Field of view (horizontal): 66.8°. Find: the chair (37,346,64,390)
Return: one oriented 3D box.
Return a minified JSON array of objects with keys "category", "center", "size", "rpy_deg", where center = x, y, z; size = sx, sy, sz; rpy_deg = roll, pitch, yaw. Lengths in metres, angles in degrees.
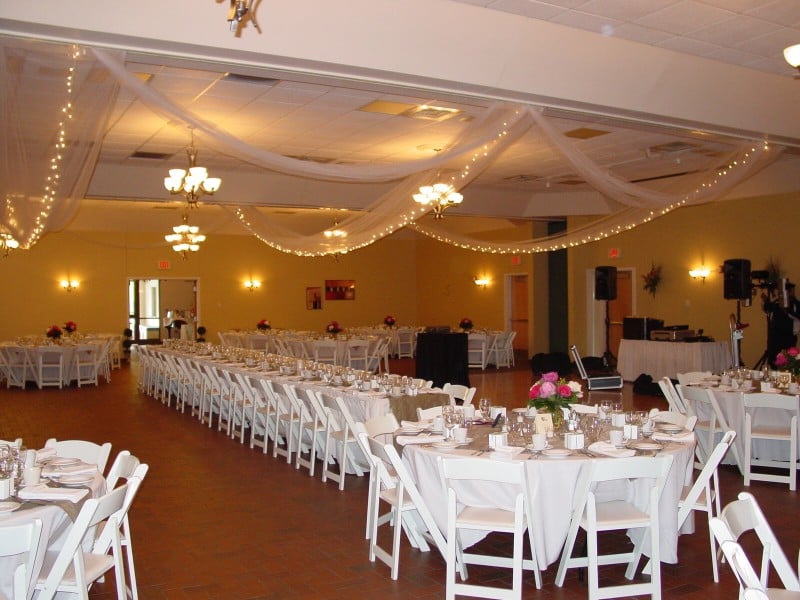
[{"category":"chair","center":[-7.391,1.412,12.803],"size":[0.491,0.844,0.581],"rpy_deg":[0,-3,-22]}]

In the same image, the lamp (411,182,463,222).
[{"category":"lamp","center":[0.430,-1.243,7.391],"size":[0.553,0.306,0.546],"rpy_deg":[-1,2,16]}]

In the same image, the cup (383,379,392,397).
[{"category":"cup","center":[-0.143,0.957,6.686],"size":[0.123,0.132,0.120],"rpy_deg":[-1,-4,0]}]

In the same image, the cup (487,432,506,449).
[{"category":"cup","center":[0.668,0.966,4.181],"size":[0.108,0.104,0.108],"rpy_deg":[1,0,0]}]

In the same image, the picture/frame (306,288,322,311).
[{"category":"picture/frame","center":[-2.971,-0.039,20.539],"size":[0.793,1.039,0.104],"rpy_deg":[1,2,-13]}]

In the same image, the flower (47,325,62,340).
[{"category":"flower","center":[-8.194,0.778,14.312],"size":[0.281,0.272,0.308],"rpy_deg":[-8,6,0]}]

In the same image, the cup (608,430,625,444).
[{"category":"cup","center":[1.477,0.945,4.161],"size":[0.083,0.079,0.101],"rpy_deg":[4,-10,-28]}]

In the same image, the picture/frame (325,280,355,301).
[{"category":"picture/frame","center":[-2.094,-0.329,20.910],"size":[1.071,0.683,0.095],"rpy_deg":[0,-2,-20]}]

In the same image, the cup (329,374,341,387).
[{"category":"cup","center":[-0.793,0.977,7.347],"size":[0.118,0.082,0.115],"rpy_deg":[0,0,0]}]

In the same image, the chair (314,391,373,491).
[{"category":"chair","center":[-0.594,1.409,6.307],"size":[0.552,0.888,1.246],"rpy_deg":[0,-3,-20]}]

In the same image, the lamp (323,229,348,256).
[{"category":"lamp","center":[-0.933,-0.850,8.614],"size":[0.328,0.349,0.832],"rpy_deg":[0,-3,-7]}]

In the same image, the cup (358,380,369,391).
[{"category":"cup","center":[-0.412,0.960,6.772],"size":[0.119,0.081,0.088],"rpy_deg":[0,1,-8]}]

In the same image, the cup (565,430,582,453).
[{"category":"cup","center":[1.146,0.949,4.034],"size":[0.106,0.104,0.105],"rpy_deg":[0,2,0]}]

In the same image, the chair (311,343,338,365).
[{"category":"chair","center":[-1.729,1.231,13.746],"size":[0.514,0.819,0.537],"rpy_deg":[1,4,-2]}]

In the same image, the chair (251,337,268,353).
[{"category":"chair","center":[-3.660,1.136,15.647],"size":[0.266,0.330,0.349],"rpy_deg":[0,0,-11]}]

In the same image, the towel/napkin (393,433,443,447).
[{"category":"towel/napkin","center":[0.130,0.989,4.295],"size":[0.227,0.044,0.128],"rpy_deg":[-1,-2,-7]}]

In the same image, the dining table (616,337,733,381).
[{"category":"dining table","center":[5.272,1.183,11.704],"size":[1.073,0.859,1.750],"rpy_deg":[1,-3,-30]}]

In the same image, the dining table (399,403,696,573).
[{"category":"dining table","center":[0.847,1.221,3.959],"size":[1.175,0.439,1.146],"rpy_deg":[-2,-1,-3]}]

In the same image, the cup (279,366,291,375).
[{"category":"cup","center":[-1.602,0.978,8.396],"size":[0.155,0.106,0.115],"rpy_deg":[0,3,-12]}]

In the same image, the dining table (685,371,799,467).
[{"category":"dining table","center":[3.606,1.293,6.552],"size":[1.033,1.386,0.801],"rpy_deg":[-5,-5,33]}]

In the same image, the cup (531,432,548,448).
[{"category":"cup","center":[0.911,0.920,3.978],"size":[0.086,0.085,0.105],"rpy_deg":[0,-11,-6]}]

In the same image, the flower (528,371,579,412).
[{"category":"flower","center":[1.133,0.690,4.591],"size":[0.324,0.226,0.327],"rpy_deg":[-6,4,34]}]

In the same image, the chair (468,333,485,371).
[{"category":"chair","center":[1.911,1.246,14.998],"size":[0.448,0.859,0.511],"rpy_deg":[-1,-2,12]}]

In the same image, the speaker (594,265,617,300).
[{"category":"speaker","center":[4.359,-0.367,12.878],"size":[0.418,0.710,0.412],"rpy_deg":[-1,-2,14]}]

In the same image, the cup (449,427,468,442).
[{"category":"cup","center":[0.407,0.945,4.260],"size":[0.121,0.082,0.078],"rpy_deg":[-3,-3,21]}]

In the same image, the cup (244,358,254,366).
[{"category":"cup","center":[-2.409,0.994,9.618],"size":[0.152,0.138,0.082],"rpy_deg":[2,-9,-21]}]

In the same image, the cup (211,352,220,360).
[{"category":"cup","center":[-3.333,1.003,10.916],"size":[0.164,0.111,0.161],"rpy_deg":[0,-4,0]}]

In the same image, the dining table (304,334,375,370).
[{"category":"dining table","center":[-1.405,1.185,13.969],"size":[1.235,0.599,0.850],"rpy_deg":[0,-3,-7]}]

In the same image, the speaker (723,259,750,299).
[{"category":"speaker","center":[5.833,-0.370,10.493],"size":[0.403,0.688,0.348],"rpy_deg":[-2,-3,25]}]

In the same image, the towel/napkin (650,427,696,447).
[{"category":"towel/napkin","center":[1.960,0.990,4.375],"size":[0.167,0.031,0.216],"rpy_deg":[-3,-1,-5]}]

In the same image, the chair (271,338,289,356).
[{"category":"chair","center":[-3.034,1.172,15.269],"size":[0.309,0.550,0.319],"rpy_deg":[8,16,33]}]
